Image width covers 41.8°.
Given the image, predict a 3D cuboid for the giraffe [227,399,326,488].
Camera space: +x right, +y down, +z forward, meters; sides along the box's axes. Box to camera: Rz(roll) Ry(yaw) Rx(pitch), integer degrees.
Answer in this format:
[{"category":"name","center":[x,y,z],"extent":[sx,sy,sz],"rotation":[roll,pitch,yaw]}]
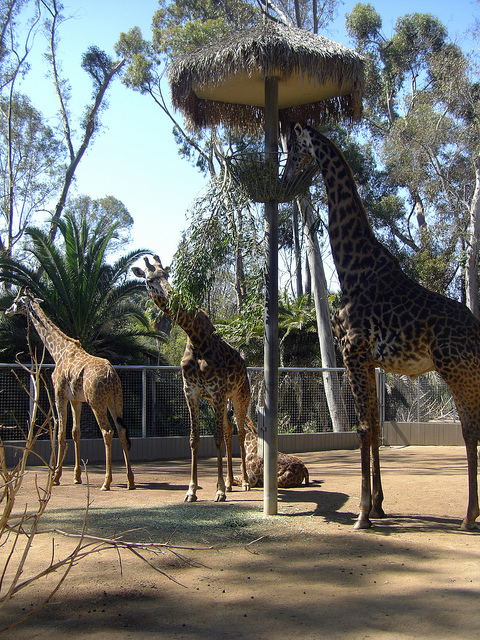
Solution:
[{"category":"giraffe","center":[0.361,1.659,8.724],"extent":[1.405,1.451,0.637],"rotation":[-4,-10,10]}]

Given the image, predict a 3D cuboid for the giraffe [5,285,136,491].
[{"category":"giraffe","center":[-2.370,0.961,9.122],"extent":[0.987,2.737,2.331],"rotation":[5,-8,-35]}]

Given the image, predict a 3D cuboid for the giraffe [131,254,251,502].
[{"category":"giraffe","center":[-0.463,0.705,7.733],"extent":[1.074,2.826,1.825],"rotation":[0,-6,7]}]
